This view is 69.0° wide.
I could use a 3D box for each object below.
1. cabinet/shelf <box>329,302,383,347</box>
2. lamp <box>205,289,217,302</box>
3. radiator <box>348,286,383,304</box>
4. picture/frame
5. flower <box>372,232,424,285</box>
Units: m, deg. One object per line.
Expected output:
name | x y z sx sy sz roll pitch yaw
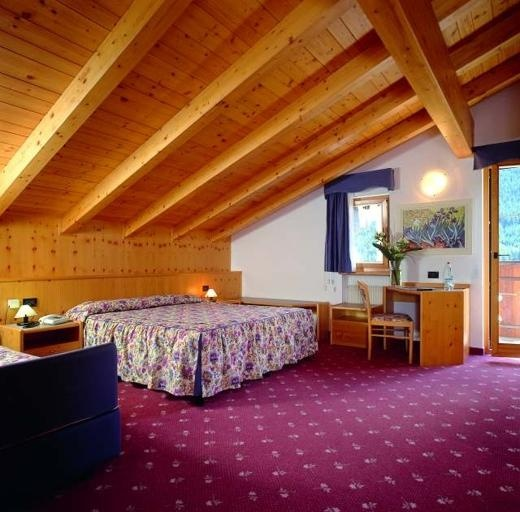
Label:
cabinet/shelf | 1.315 0.824 5.179 0.660 0.676 0.509 -3 -5 39
lamp | -0.716 0.602 5.852 0.179 0.213 0.168 -4 3 -36
radiator | 1.479 0.527 5.186 0.300 0.195 0.015 3 4 43
picture/frame | 2.298 -0.367 4.834 0.680 0.602 0.030 2 5 36
flower | 1.820 0.025 5.019 0.603 0.706 0.662 2 1 -29
